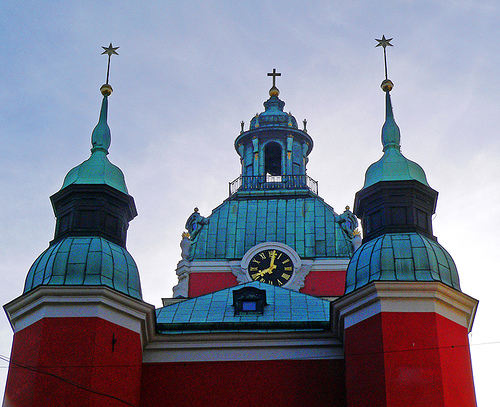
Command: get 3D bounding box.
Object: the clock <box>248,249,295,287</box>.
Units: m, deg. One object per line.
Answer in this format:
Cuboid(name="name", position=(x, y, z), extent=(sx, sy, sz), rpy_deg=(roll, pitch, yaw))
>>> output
Cuboid(name="clock", position=(0.965, 3.061, 35.336), extent=(1.658, 1.771, 0.144), rpy_deg=(1, -32, 2))
